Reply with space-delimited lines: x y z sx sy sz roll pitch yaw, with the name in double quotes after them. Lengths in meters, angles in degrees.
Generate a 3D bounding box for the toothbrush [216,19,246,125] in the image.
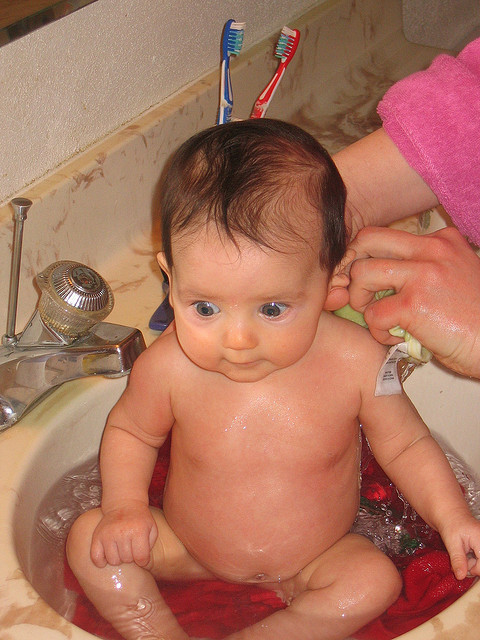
-0.012 -0.322 0.797 0.034 0.174 0.019 1 11 -15 "toothbrush"

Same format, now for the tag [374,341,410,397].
0.158 0.048 0.634 0.042 0.063 0.015 -3 27 7 "tag"
